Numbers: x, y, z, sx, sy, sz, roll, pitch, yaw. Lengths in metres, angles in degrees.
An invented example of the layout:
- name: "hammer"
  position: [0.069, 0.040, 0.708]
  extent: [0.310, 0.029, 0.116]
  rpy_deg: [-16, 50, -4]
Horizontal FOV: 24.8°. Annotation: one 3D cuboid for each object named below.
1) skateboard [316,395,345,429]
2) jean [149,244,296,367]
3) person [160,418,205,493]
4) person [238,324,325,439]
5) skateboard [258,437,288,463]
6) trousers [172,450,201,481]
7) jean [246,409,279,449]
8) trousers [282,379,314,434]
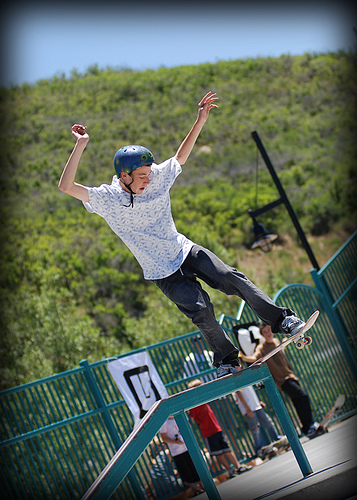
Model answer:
- name: "skateboard"
  position: [2.116, 2.278, 11.408]
  extent: [0.508, 0.119, 0.088]
  rpy_deg: [-43, 30, -6]
- name: "jean"
  position: [0.388, 0.536, 7.961]
  extent: [1.144, 1.019, 0.331]
  rpy_deg: [-14, 6, 5]
- name: "person"
  position: [0.045, 2.507, 9.925]
  extent: [0.301, 0.800, 0.392]
  rpy_deg: [-20, 7, -39]
- name: "person"
  position: [1.245, 1.681, 10.154]
  extent: [0.349, 1.972, 0.476]
  rpy_deg: [-37, -5, 29]
- name: "skateboard"
  position: [1.256, 2.587, 10.608]
  extent: [0.487, 0.228, 0.201]
  rpy_deg: [-17, 6, -32]
- name: "trousers"
  position: [0.082, 2.635, 9.854]
  extent: [0.217, 0.326, 0.153]
  rpy_deg: [-16, 5, -5]
- name: "jean"
  position: [1.117, 2.303, 10.694]
  extent: [0.465, 0.413, 0.183]
  rpy_deg: [-19, 6, -40]
- name: "trousers"
  position: [1.613, 2.095, 10.933]
  extent: [0.307, 0.604, 0.195]
  rpy_deg: [-15, 6, 6]
